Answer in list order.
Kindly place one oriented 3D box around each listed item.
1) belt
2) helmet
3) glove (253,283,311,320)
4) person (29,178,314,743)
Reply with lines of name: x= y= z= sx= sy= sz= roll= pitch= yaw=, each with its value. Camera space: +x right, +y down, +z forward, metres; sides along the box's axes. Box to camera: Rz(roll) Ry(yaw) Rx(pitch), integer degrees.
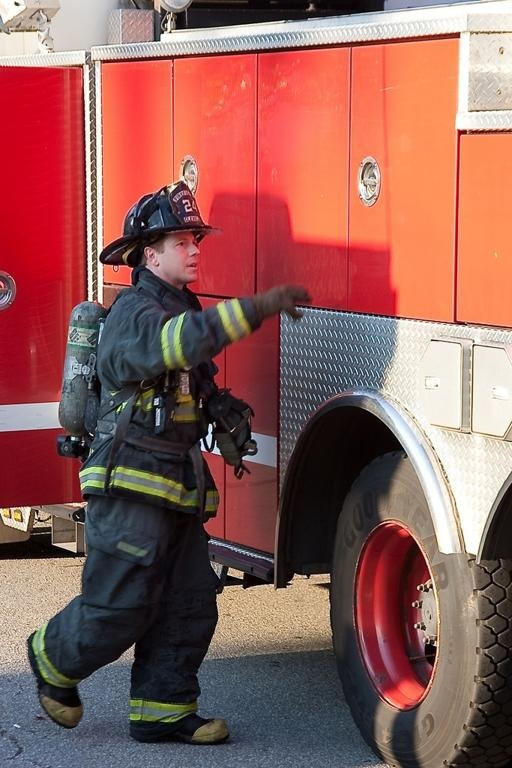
belt: x=-0.286 y=0.258 z=2.038 sx=0.324 sy=0.220 sz=0.119 roll=2 pitch=-1 yaw=-22
helmet: x=-0.311 y=-0.524 z=2.193 sx=0.405 sy=0.209 sz=0.314 roll=-2 pitch=11 yaw=45
glove: x=0.062 y=-0.200 z=1.625 sx=0.119 sy=0.092 sz=0.131 roll=2 pitch=-1 yaw=-32
person: x=-0.229 y=0.235 z=2.054 sx=0.871 sy=1.258 sz=0.537 roll=1 pitch=-1 yaw=44
